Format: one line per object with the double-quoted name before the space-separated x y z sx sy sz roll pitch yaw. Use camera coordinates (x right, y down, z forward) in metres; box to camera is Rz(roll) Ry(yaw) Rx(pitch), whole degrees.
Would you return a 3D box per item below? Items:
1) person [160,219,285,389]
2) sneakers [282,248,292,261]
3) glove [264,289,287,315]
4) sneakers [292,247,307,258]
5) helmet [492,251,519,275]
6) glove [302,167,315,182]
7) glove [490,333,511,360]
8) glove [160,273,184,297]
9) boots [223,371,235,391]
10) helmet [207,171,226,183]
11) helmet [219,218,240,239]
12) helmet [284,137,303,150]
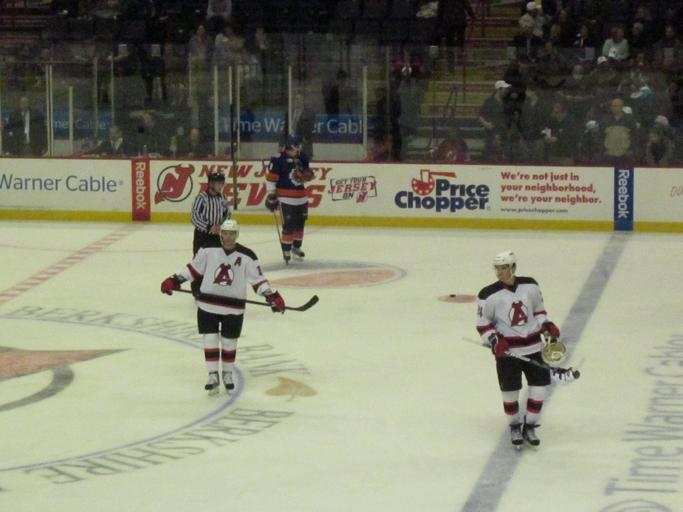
"person" -1.235 0.541 10.209 1.230 1.830 0.327 1 9 -2
"sneakers" -0.891 -0.024 15.699 0.082 0.182 0.085 4 -14 -9
"glove" -0.678 0.471 10.192 0.194 0.239 0.140 -18 27 39
"sneakers" -0.712 -0.059 15.921 0.268 0.101 0.095 27 15 29
"helmet" 1.504 0.057 9.119 0.195 0.204 0.253 -6 -11 44
"glove" -0.551 -1.335 15.897 0.225 0.164 0.252 16 23 30
"glove" 1.469 0.839 9.005 0.182 0.199 0.095 4 24 29
"glove" -1.773 0.297 10.309 0.264 0.102 0.218 -19 22 -21
"boots" -1.200 1.330 10.329 0.107 0.103 0.258 -5 17 -18
"helmet" -1.718 -1.086 13.050 0.217 0.091 0.279 0 -2 -30
"helmet" -1.165 -0.299 10.110 0.213 0.216 0.246 0 -2 2
"helmet" -0.808 -1.854 15.770 0.287 0.241 0.191 -3 45 -17
